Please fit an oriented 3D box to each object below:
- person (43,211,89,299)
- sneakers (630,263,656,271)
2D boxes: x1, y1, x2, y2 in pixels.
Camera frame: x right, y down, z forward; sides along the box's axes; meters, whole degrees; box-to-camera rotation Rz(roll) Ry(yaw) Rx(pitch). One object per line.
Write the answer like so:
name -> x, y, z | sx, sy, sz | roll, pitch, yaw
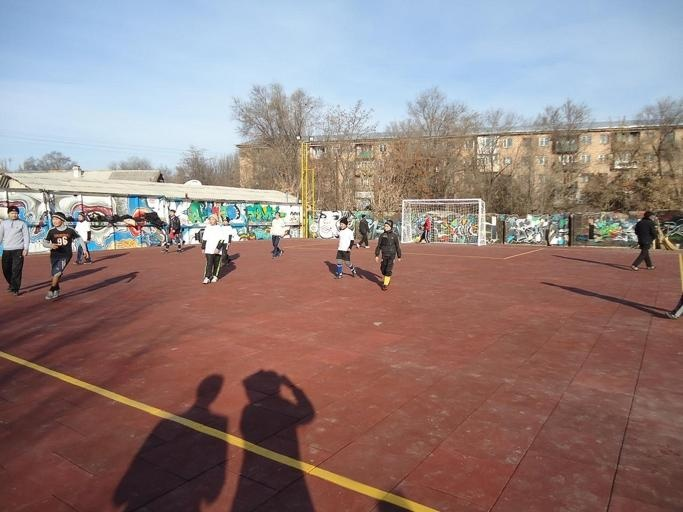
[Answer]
person -> -7.077, 0.035, 10.743 | 0.780, 2.069, 1.404 | -6, 9, -35
sneakers -> 11.221, 0.501, 15.826 | 0.594, 0.260, 0.188 | -8, 0, 26
